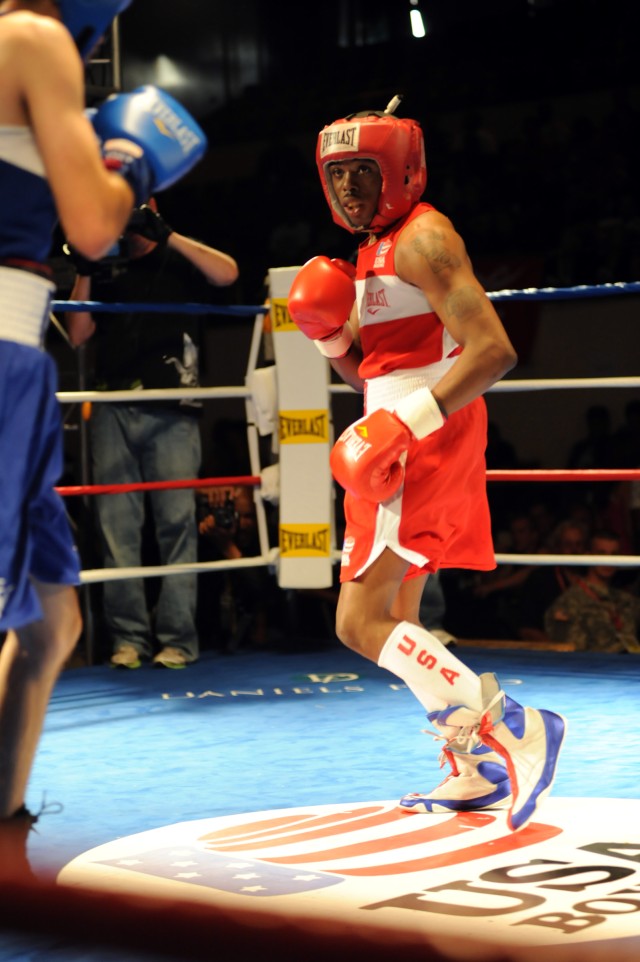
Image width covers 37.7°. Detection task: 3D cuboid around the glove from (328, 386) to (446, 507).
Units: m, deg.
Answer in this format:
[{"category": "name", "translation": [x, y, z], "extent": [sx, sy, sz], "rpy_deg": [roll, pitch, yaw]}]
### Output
[{"category": "glove", "translation": [0.097, -0.052, 1.497], "extent": [0.203, 0.094, 0.144], "rpy_deg": [-45, 46, 2]}]

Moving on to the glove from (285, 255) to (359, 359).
[{"category": "glove", "translation": [0.027, -0.329, 1.826], "extent": [0.093, 0.185, 0.138], "rpy_deg": [-11, 37, 30]}]

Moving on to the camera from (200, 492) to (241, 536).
[{"category": "camera", "translation": [-0.403, 0.126, 3.735], "extent": [0.149, 0.169, 0.070], "rpy_deg": [-3, 6, -11]}]
